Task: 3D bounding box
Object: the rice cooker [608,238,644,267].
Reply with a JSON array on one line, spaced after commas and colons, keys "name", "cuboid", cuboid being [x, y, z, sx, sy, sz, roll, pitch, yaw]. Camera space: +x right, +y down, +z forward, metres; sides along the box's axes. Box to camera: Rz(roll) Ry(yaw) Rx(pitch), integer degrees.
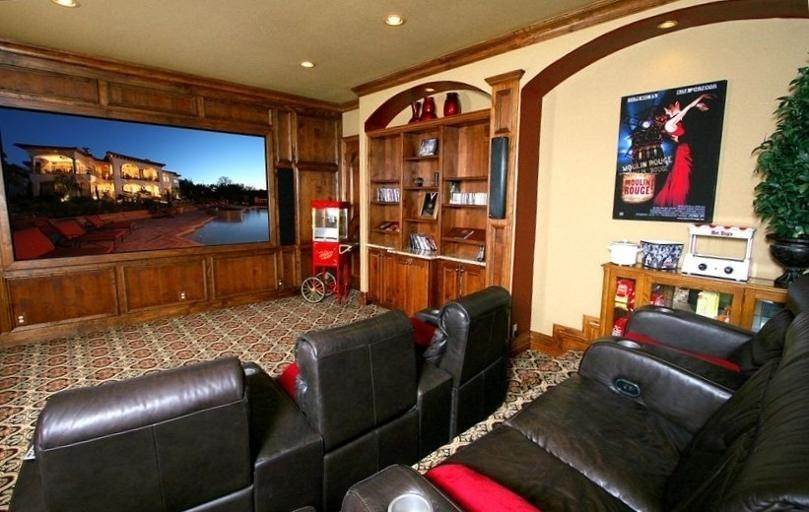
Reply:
[{"name": "rice cooker", "cuboid": [2.390, -0.062, 5.312, 0.314, 0.252, 0.340, -7, 11, -26]}]
